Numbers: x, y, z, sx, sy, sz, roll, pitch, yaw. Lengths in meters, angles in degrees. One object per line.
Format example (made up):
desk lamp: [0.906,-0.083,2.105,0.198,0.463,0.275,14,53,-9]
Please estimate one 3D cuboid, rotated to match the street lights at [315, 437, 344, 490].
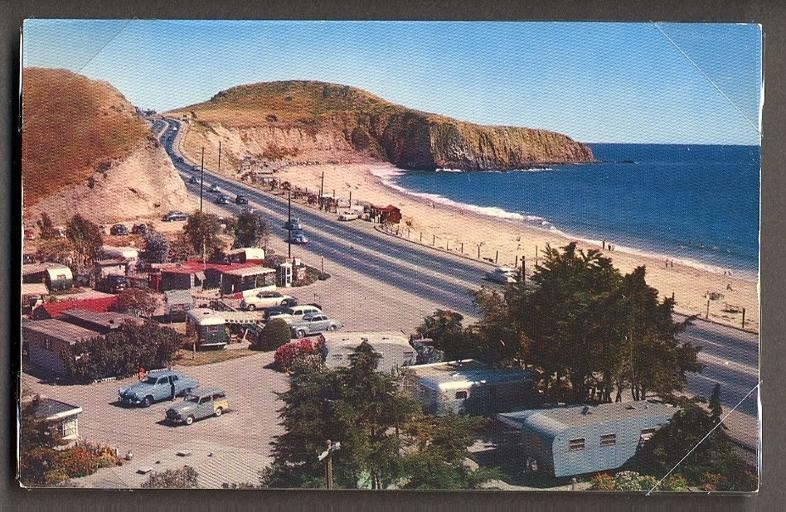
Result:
street lights: [-1.629,5.374,30.211,0.596,1.279,0.116,4,0,-13]
